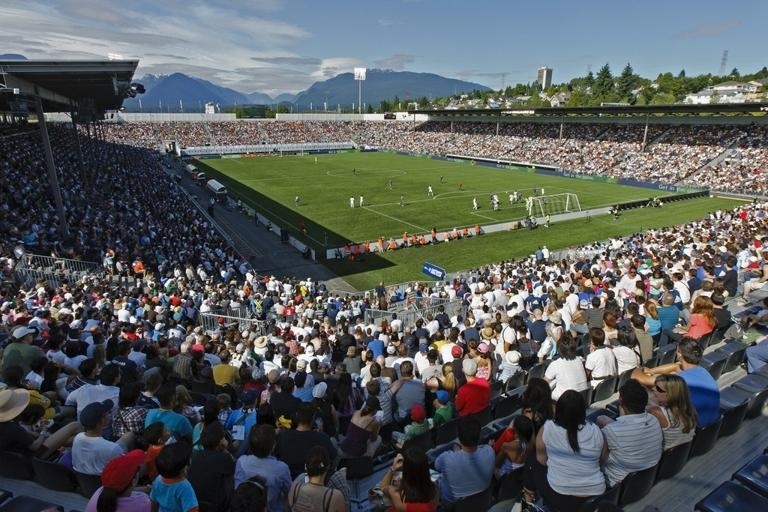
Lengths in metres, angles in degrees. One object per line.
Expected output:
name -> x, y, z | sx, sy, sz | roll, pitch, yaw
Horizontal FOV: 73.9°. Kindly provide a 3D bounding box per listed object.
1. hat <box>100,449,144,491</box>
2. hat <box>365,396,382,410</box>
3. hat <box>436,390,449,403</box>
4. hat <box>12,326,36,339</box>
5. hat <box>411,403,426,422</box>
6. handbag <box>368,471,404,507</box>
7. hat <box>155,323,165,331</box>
hat -> -4.817, 3.814, 9.280 | 0.644, 0.420, 0.868 | 11, 13, -4
hat -> -0.248, 3.237, 11.174 | 0.282, 0.320, 0.322 | 12, 49, 12
hat -> 1.394, 3.264, 12.054 | 0.243, 0.171, 0.348 | 21, 19, 27
hat -> -9.557, 2.058, 13.605 | 0.330, 0.257, 0.476 | 21, 25, 36
hat -> 0.759, 3.478, 11.392 | 0.268, 0.504, 0.316 | 1, 18, -4
handbag -> -0.039, 4.582, 9.999 | 0.830, 0.306, 0.717 | 3, 1, 31
hat -> -8.024, 2.528, 18.321 | 0.313, 0.258, 0.235 | 14, 4, 38
